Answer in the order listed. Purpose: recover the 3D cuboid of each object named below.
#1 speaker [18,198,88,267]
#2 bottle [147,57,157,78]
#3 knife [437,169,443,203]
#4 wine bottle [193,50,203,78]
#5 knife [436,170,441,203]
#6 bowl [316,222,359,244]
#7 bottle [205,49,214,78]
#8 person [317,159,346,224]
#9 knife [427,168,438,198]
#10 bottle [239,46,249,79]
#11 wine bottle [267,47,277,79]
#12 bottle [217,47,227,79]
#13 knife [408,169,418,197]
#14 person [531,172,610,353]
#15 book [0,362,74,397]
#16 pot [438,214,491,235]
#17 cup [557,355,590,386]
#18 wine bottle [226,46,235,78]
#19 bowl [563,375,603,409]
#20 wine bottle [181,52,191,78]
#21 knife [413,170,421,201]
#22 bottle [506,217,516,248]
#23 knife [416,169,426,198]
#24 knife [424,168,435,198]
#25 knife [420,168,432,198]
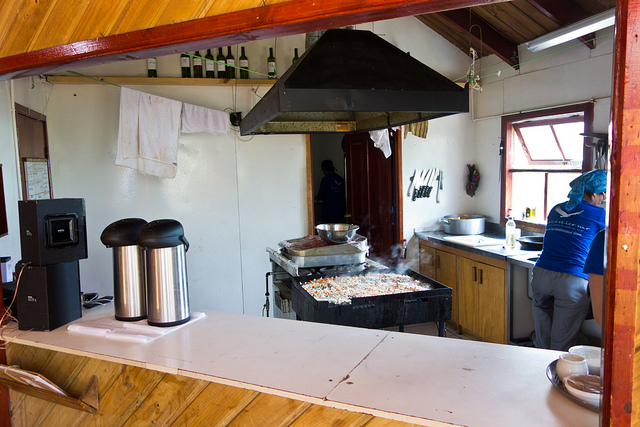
[{"bbox_3d":[-1.557,0.104,3.060,0.212,0.353,0.330,0,4,30],"label":"speaker"},{"bbox_3d":[-1.658,-1.438,5.183,0.089,0.169,0.064,-3,14,-17],"label":"bottle"},{"bbox_3d":[1.385,-0.291,6.064,0.050,0.342,0.031,5,9,-9],"label":"knife"},{"bbox_3d":[-1.219,-1.458,5.258,0.093,0.196,0.120,-4,14,-19],"label":"wine bottle"},{"bbox_3d":[1.368,-0.293,6.060,0.043,0.315,0.028,2,9,-12],"label":"knife"},{"bbox_3d":[0.139,0.158,4.373,0.335,0.135,0.357,1,12,0],"label":"bowl"},{"bbox_3d":[-1.108,-1.499,5.259,0.086,0.277,0.169,-2,13,-11],"label":"bottle"},{"bbox_3d":[0.182,-0.274,7.228,0.372,0.860,0.289,2,13,7],"label":"person"},{"bbox_3d":[1.302,-0.348,6.077,0.087,0.359,0.020,20,5,-28],"label":"knife"},{"bbox_3d":[-0.772,-1.537,5.343,0.093,0.332,0.215,-1,13,-8],"label":"bottle"},{"bbox_3d":[-0.494,-1.537,5.369,0.081,0.320,0.198,-1,13,-5],"label":"wine bottle"},{"bbox_3d":[-0.991,-1.522,5.307,0.092,0.307,0.144,-1,13,-9],"label":"bottle"},{"bbox_3d":[1.066,-0.342,5.933,0.082,0.311,0.084,12,-9,44],"label":"knife"},{"bbox_3d":[2.060,0.436,4.384,0.481,1.569,0.417,8,15,27],"label":"person"},{"bbox_3d":[-1.514,0.895,2.828,0.464,0.047,0.455,17,-12,-11],"label":"book"},{"bbox_3d":[1.633,0.132,5.915,0.576,0.195,0.365,3,13,12],"label":"pot"},{"bbox_3d":[1.197,0.750,2.480,0.142,0.134,0.142,-1,6,0],"label":"cup"},{"bbox_3d":[-0.912,-1.541,5.338,0.078,0.316,0.152,-1,13,-7],"label":"wine bottle"},{"bbox_3d":[1.180,0.782,2.313,0.173,0.053,0.168,0,1,0],"label":"bowl"},{"bbox_3d":[-1.334,-1.462,5.214,0.094,0.227,0.125,-2,13,-13],"label":"wine bottle"},{"bbox_3d":[1.111,-0.311,6.022,0.051,0.362,0.027,14,4,-13],"label":"knife"},{"bbox_3d":[1.893,0.201,5.175,0.084,0.254,0.219,5,13,16],"label":"bottle"},{"bbox_3d":[1.167,-0.340,6.025,0.057,0.387,0.033,13,-9,-8],"label":"knife"},{"bbox_3d":[1.275,-0.350,6.071,0.085,0.360,0.020,19,-7,-4],"label":"knife"},{"bbox_3d":[1.221,-0.352,6.048,0.057,0.402,0.046,22,-4,2],"label":"knife"}]
